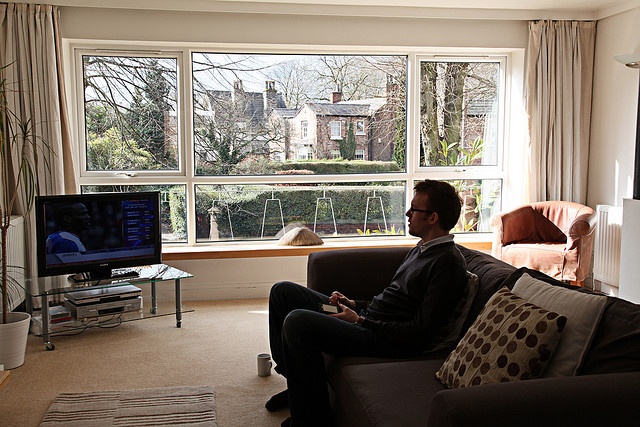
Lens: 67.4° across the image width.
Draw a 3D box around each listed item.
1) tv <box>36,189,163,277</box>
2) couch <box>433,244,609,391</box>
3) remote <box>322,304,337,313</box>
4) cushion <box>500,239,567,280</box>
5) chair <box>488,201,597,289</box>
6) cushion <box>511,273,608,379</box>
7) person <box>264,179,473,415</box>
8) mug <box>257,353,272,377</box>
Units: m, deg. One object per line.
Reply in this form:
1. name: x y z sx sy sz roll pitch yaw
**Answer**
1. tv: -1.956 0.180 4.321 1.064 0.690 0.097 -4 -6 -8
2. couch: 1.039 0.603 2.453 0.207 0.653 0.698 31 -11 -34
3. remote: 0.065 0.619 3.120 0.084 0.010 0.045 8 31 -4
4. cushion: 2.179 0.435 4.840 0.501 0.212 0.492 1 5 -1
5. chair: 2.396 0.359 5.061 0.889 0.948 0.948 -3 5 -41
6. cushion: 1.147 0.591 2.462 0.452 0.386 0.454 -11 17 -43
7. person: 0.286 0.600 3.156 1.310 1.506 0.957 5 1 4
8. mug: -0.428 1.161 3.729 0.113 0.161 0.140 -1 13 -8
